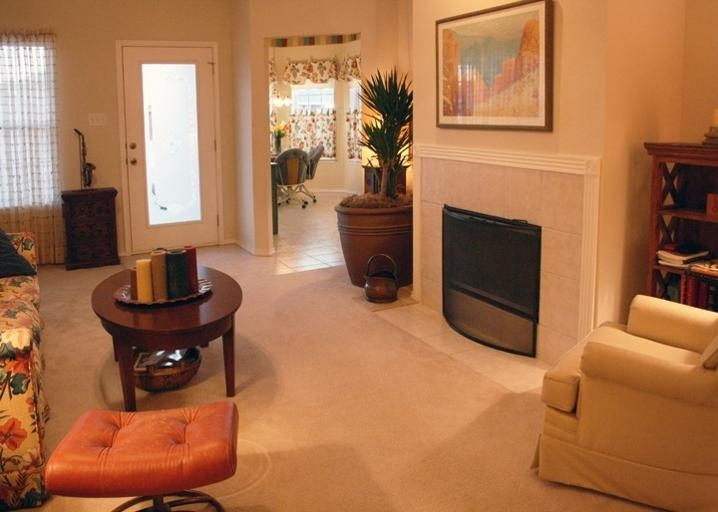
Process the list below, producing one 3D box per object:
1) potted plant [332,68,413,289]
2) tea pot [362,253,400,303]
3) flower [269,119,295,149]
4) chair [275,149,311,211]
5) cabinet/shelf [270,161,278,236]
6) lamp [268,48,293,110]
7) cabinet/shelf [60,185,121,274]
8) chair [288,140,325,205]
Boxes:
[{"bbox_3d":[0.272,-0.868,5.537,0.973,2.106,0.955,-1,11,-21],"label":"potted plant"},{"bbox_3d":[0.226,0.209,5.140,0.372,0.440,0.383,2,12,0],"label":"tea pot"},{"bbox_3d":[-1.589,-2.534,10.900,0.567,0.612,0.595,0,15,0],"label":"flower"},{"bbox_3d":[-1.264,-1.458,9.888,0.678,1.032,0.663,-6,16,-35],"label":"chair"},{"bbox_3d":[-1.225,-0.827,7.716,0.078,1.029,0.290,-3,15,-7],"label":"cabinet/shelf"},{"bbox_3d":[-1.619,-3.681,10.867,0.466,1.103,0.260,-12,18,-36],"label":"lamp"},{"bbox_3d":[-3.161,-0.352,6.223,0.606,0.929,0.374,-10,26,-39],"label":"cabinet/shelf"},{"bbox_3d":[-1.176,-1.485,10.001,0.638,1.004,0.635,-1,18,13],"label":"chair"}]
